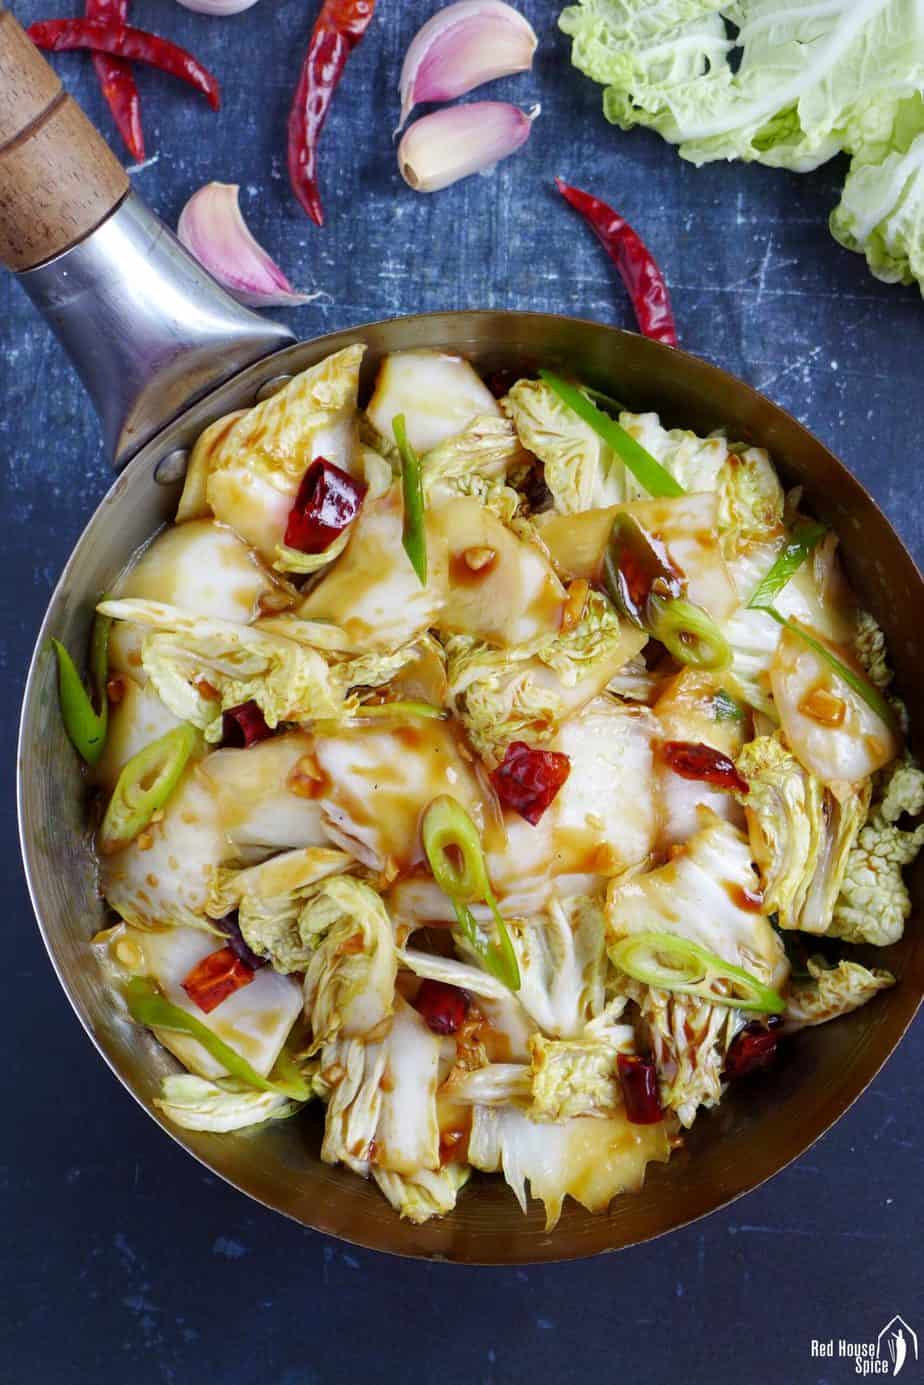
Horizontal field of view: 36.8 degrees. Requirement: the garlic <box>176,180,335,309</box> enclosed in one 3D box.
[{"bbox_3d":[-0.282,-0.570,1.866,0.216,0.051,0.114,46,70,-3],"label":"garlic"}]
